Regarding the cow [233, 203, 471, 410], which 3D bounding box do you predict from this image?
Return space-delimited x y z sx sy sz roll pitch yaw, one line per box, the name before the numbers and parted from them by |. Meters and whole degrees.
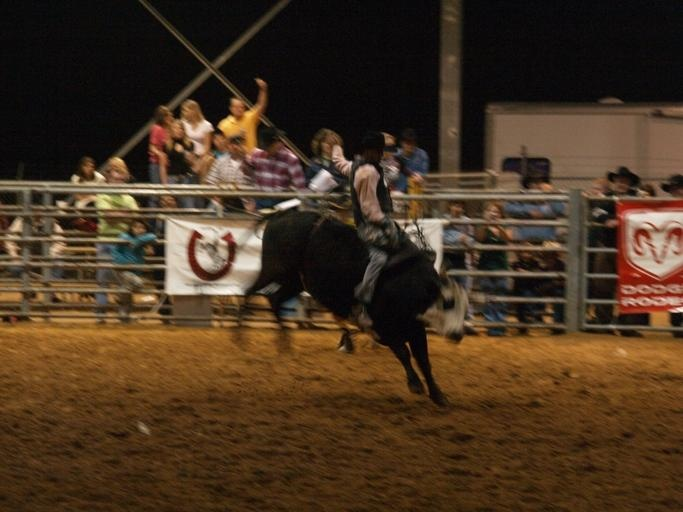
cow | 0.173 0.496 7.566 2.081 1.999 0.617 0 2 25
